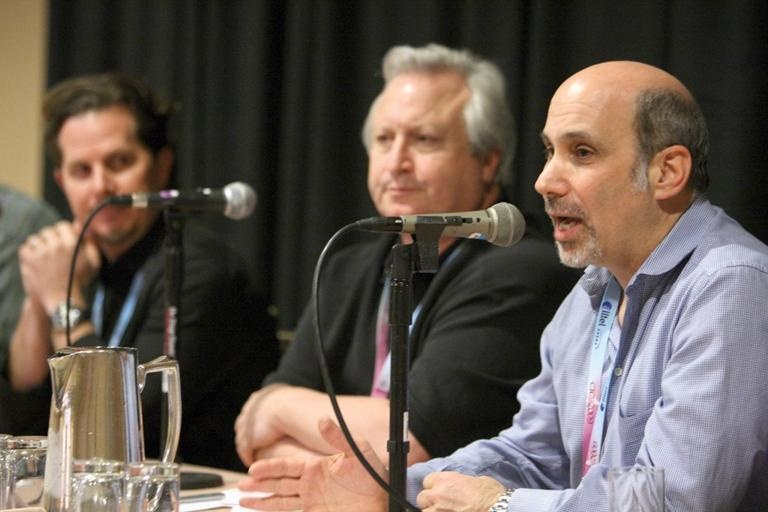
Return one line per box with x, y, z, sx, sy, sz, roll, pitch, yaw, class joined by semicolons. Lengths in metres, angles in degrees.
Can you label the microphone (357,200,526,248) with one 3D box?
0.212;-0.052;2.749;0.552;0.138;0.147;3;-3;-26;microphone
